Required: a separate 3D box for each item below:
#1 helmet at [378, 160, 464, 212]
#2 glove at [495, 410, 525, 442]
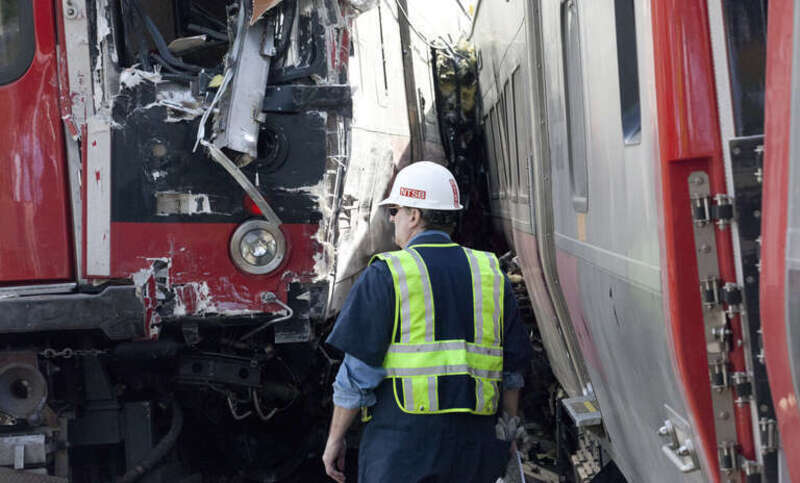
[{"bbox_3d":[0.167,-0.334,4.730,0.381,0.226,0.325,10,2,6],"label":"helmet"},{"bbox_3d":[0.696,1.191,4.777,0.148,0.075,0.175,3,-46,-5],"label":"glove"}]
